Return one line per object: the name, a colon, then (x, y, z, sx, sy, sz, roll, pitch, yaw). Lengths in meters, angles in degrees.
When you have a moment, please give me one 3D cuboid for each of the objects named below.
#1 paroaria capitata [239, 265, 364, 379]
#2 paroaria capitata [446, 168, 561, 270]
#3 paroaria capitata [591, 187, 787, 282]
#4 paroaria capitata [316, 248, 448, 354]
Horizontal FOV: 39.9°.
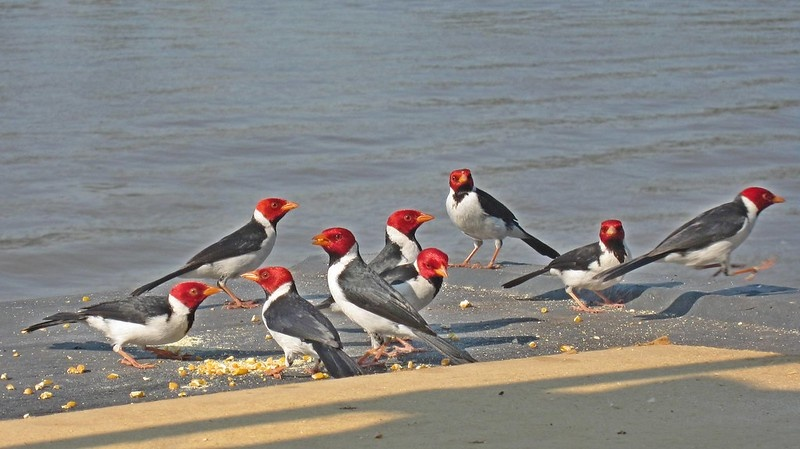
paroaria capitata: (-1.819, 1.863, 21.240, 1.599, 1.702, 3.587, -5, 11, -34)
paroaria capitata: (1.809, -0.018, 22.564, 1.560, 2.234, 4.561, 1, 1, 43)
paroaria capitata: (6.111, 0.263, 23.477, 4.653, 1.388, 1.197, -10, -7, 7)
paroaria capitata: (0.475, 1.207, 22.524, 2.156, 2.497, 3.771, 2, 0, 5)
